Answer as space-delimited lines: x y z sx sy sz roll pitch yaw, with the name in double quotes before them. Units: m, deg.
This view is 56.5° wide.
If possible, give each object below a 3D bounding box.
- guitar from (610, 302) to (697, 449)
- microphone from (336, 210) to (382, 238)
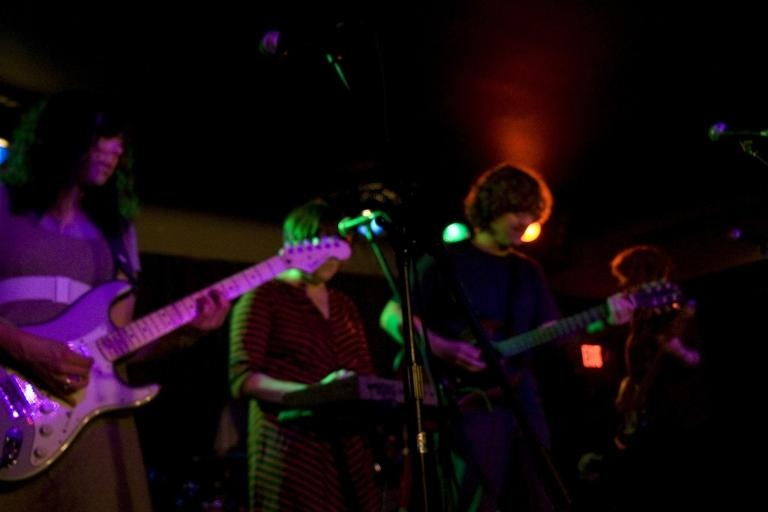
"guitar" 2.392 1.017 6.288 0.663 1.334 0.280 3 -11 42
"microphone" -0.149 -0.201 4.522 0.319 0.194 0.104 -3 -9 37
